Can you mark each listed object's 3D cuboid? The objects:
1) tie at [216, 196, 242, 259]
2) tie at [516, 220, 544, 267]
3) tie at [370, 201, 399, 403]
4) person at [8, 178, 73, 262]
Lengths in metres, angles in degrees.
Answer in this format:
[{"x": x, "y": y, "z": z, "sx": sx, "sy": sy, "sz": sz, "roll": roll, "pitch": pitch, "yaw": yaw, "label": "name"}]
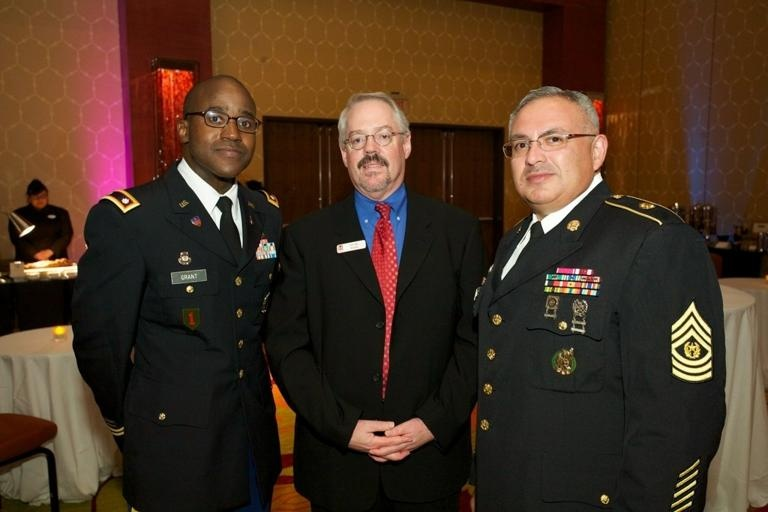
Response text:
[{"x": -0.754, "y": -0.145, "z": 3.145, "sx": 0.095, "sy": 0.344, "sz": 0.039, "roll": -8, "pitch": -13, "yaw": -16, "label": "tie"}, {"x": 0.678, "y": -0.063, "z": 2.953, "sx": 0.047, "sy": 0.188, "sz": 0.136, "roll": 23, "pitch": 11, "yaw": -17, "label": "tie"}, {"x": -0.002, "y": 0.196, "z": 3.191, "sx": 0.100, "sy": 1.035, "sz": 0.102, "roll": -3, "pitch": -12, "yaw": 0, "label": "tie"}, {"x": -3.324, "y": -0.360, "z": 6.262, "sx": 0.495, "sy": 0.760, "sz": 0.517, "roll": 3, "pitch": 11, "yaw": 12, "label": "person"}]
